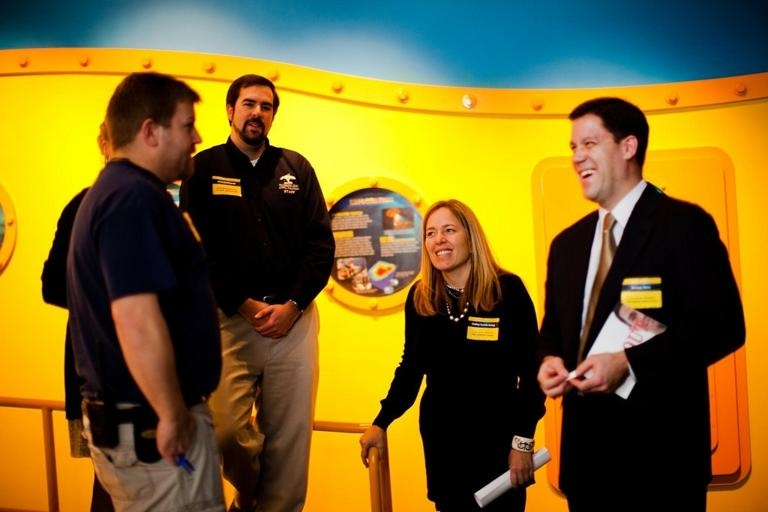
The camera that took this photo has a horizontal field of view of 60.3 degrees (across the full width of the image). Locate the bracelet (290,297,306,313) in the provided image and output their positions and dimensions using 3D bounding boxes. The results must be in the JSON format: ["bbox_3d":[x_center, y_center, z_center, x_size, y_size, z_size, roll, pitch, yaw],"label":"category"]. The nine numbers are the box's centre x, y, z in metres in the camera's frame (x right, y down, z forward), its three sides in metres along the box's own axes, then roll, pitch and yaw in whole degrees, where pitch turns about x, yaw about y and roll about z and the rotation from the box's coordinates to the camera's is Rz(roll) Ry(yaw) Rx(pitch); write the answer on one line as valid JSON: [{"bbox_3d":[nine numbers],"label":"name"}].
[{"bbox_3d":[-0.548,0.319,4.222,0.097,0.025,0.070,41,18,6],"label":"bracelet"}]

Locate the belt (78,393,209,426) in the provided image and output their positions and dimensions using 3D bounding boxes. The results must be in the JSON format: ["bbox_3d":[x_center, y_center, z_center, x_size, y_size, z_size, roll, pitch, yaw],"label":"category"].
[{"bbox_3d":[-1.332,0.768,3.288,0.416,0.114,0.059,4,6,15],"label":"belt"}]

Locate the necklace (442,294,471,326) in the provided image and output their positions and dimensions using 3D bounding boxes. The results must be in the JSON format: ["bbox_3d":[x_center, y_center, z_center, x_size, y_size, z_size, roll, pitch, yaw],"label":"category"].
[{"bbox_3d":[0.445,0.329,4.099,0.107,0.157,0.063,-6,-12,15],"label":"necklace"}]

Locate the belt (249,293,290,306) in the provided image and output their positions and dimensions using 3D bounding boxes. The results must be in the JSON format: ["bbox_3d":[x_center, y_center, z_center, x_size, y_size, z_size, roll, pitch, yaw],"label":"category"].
[{"bbox_3d":[-0.725,0.276,4.210,0.225,0.059,0.045,0,6,-19],"label":"belt"}]

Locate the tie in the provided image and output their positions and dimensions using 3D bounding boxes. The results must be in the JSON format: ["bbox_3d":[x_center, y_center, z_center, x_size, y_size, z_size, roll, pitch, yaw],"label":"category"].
[{"bbox_3d":[1.221,0.125,3.769,0.087,1.095,0.137,39,-39,-22],"label":"tie"}]

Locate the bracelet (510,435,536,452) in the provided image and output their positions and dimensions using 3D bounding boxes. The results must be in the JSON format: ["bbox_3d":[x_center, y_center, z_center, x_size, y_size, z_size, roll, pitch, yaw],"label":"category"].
[{"bbox_3d":[0.825,1.110,3.947,0.101,0.066,0.100,7,-11,-17],"label":"bracelet"}]
